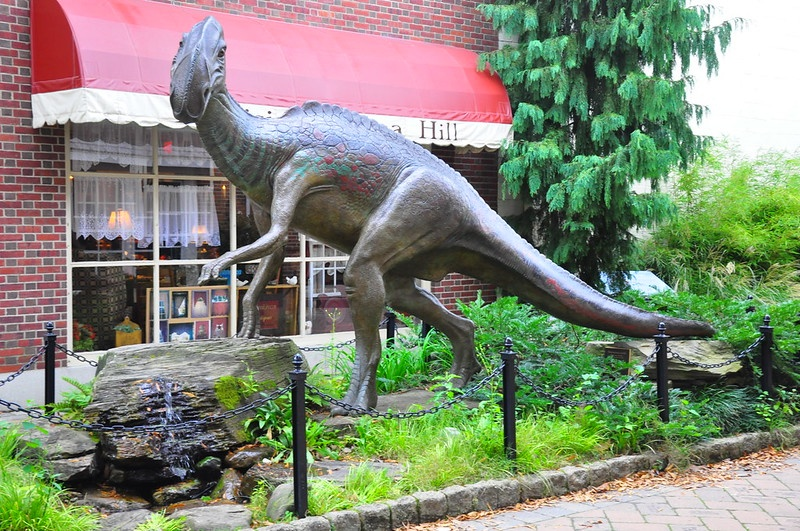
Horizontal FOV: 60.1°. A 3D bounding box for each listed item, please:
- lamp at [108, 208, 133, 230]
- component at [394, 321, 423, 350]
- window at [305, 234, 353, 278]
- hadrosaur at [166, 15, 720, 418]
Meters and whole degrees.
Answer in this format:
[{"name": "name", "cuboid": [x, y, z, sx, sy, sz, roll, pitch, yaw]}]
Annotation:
[{"name": "lamp", "cuboid": [-3.991, -0.649, 9.862, 0.266, 0.270, 0.318, 3, -3, -32]}, {"name": "component", "cuboid": [0.114, 1.085, 9.682, 0.326, 0.150, 0.340, 20, 19, 32]}, {"name": "window", "cuboid": [-1.063, -0.131, 9.837, 0.640, 0.610, 0.080, 6, -14, -33]}, {"name": "hadrosaur", "cuboid": [0.247, -0.261, 7.995, 6.157, 3.629, 2.046, 8, -7, -20]}]
